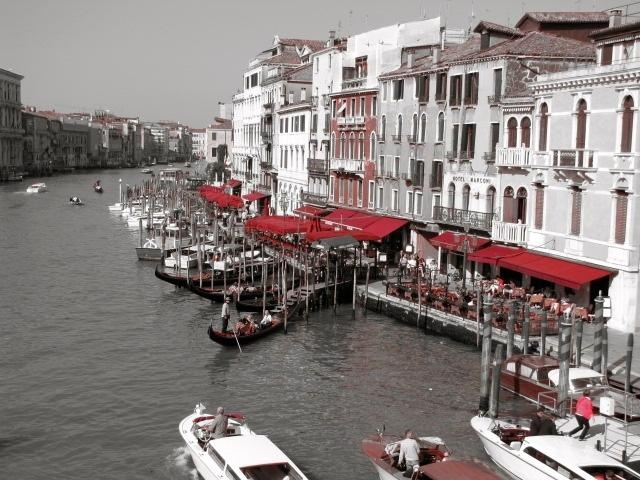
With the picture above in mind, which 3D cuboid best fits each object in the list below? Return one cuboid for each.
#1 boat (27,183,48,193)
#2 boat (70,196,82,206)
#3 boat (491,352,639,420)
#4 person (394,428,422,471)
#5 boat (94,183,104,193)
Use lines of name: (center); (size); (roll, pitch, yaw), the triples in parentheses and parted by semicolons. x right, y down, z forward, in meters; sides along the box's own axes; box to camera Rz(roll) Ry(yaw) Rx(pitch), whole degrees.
boat: (-54.959, -9.831, 149.952); (2.613, 1.818, 4.864); (1, -17, -4)
boat: (-40.851, -6.434, 129.610); (2.100, 1.207, 2.717); (1, 11, -13)
boat: (11.693, 7.301, 37.678); (1.979, 1.775, 7.141); (-4, 4, -17)
person: (3.654, 8.739, 32.135); (0.964, 1.620, 1.960); (1, 8, 7)
boat: (-46.168, -10.593, 160.757); (1.706, 2.558, 5.595); (-1, 10, -17)
